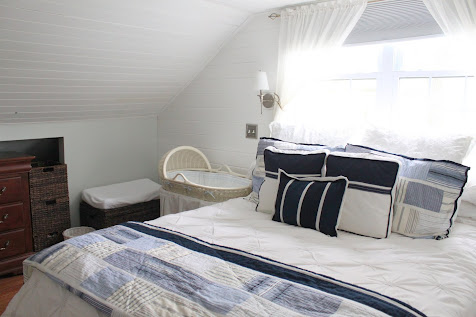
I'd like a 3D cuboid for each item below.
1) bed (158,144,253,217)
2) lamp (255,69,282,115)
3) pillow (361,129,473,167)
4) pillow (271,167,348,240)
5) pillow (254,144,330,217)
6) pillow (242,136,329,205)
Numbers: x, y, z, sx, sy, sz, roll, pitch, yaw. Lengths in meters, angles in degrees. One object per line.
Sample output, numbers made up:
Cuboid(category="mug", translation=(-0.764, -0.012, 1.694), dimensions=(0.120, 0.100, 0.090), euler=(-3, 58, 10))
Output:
Cuboid(category="bed", translation=(-0.333, 0.260, 3.576), dimensions=(1.149, 0.680, 0.735), euler=(7, 15, 37))
Cuboid(category="lamp", translation=(0.326, -0.720, 3.369), dimensions=(0.298, 0.455, 0.333), euler=(2, 9, -1))
Cuboid(category="pillow", translation=(1.413, -0.116, 2.431), dimensions=(0.849, 0.268, 0.283), euler=(10, -18, 39))
Cuboid(category="pillow", translation=(0.542, 0.341, 2.254), dimensions=(0.516, 0.359, 0.176), euler=(7, 6, 35))
Cuboid(category="pillow", translation=(0.439, 0.186, 2.423), dimensions=(0.576, 0.504, 0.217), euler=(6, -13, 42))
Cuboid(category="pillow", translation=(0.401, 0.113, 2.912), dimensions=(0.668, 0.581, 0.200), euler=(3, -11, 44))
